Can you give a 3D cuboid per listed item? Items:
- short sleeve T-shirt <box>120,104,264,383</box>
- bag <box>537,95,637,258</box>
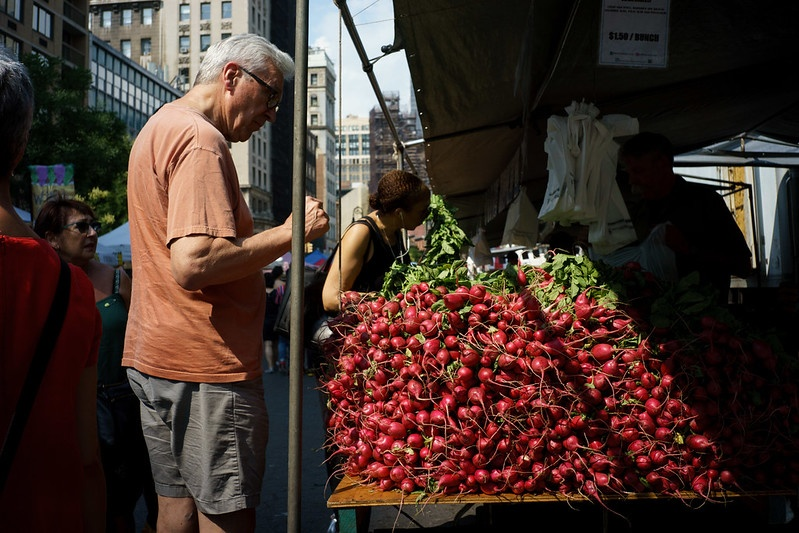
[{"bbox_3d":[-1.160,-0.154,4.703,0.795,1.611,0.499,-1,-2,-10],"label":"short sleeve T-shirt"},{"bbox_3d":[1.336,-0.634,5.916,0.690,1.100,0.370,-2,-2,10],"label":"bag"}]
